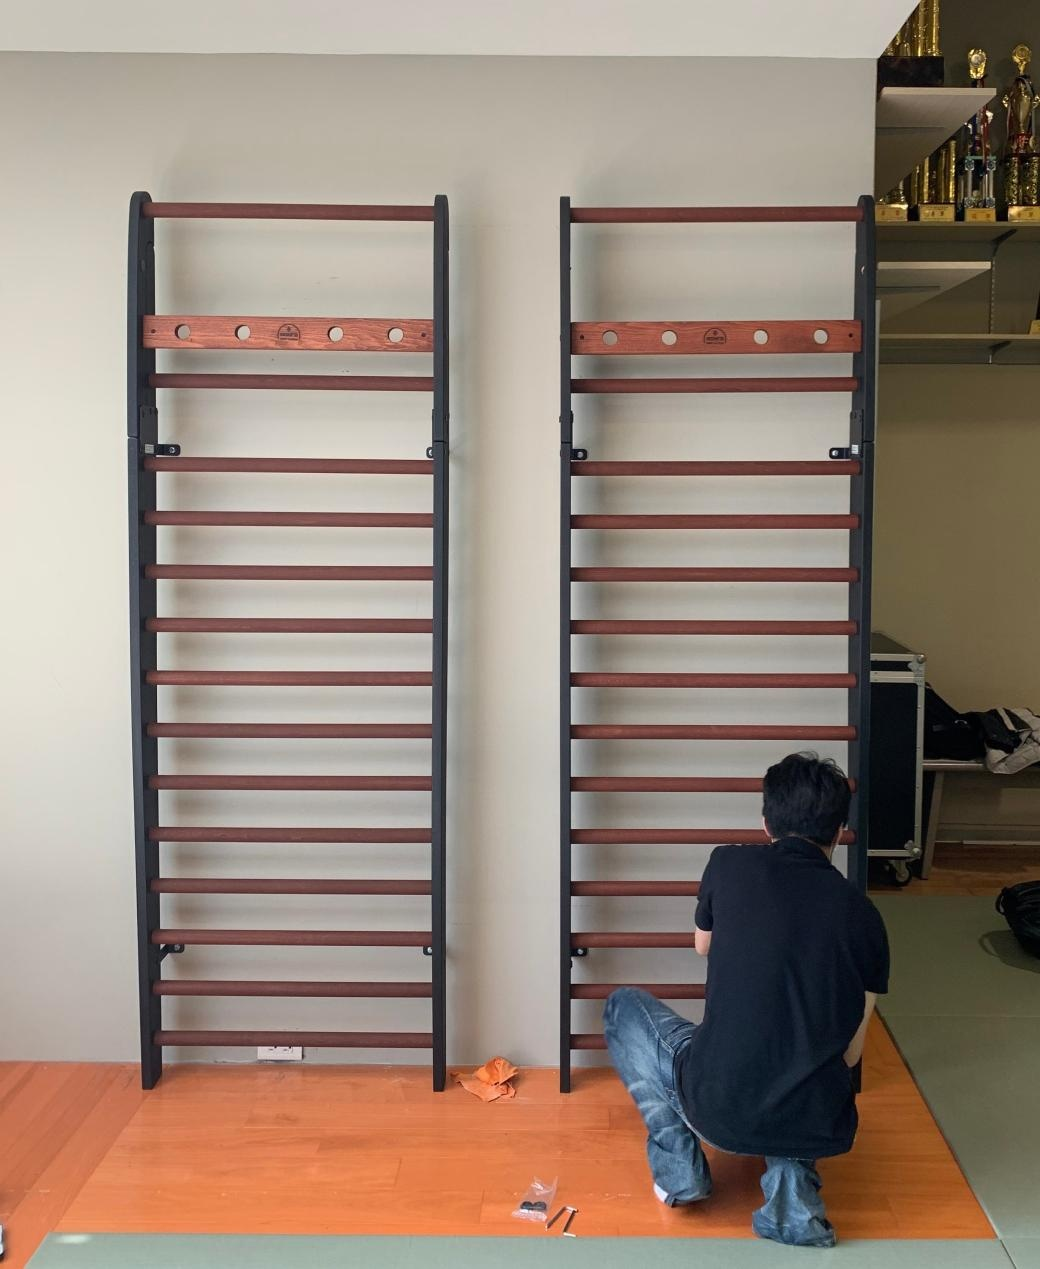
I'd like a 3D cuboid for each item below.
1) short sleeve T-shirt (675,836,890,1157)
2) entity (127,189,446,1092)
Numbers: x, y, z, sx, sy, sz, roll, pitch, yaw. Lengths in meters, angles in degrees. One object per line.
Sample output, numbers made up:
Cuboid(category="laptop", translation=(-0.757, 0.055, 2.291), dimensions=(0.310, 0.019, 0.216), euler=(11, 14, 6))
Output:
Cuboid(category="short sleeve T-shirt", translation=(0.491, 0.716, 2.469), dimensions=(0.393, 0.635, 0.265), euler=(2, 14, 14))
Cuboid(category="entity", translation=(-0.533, 0.033, 3.055), dimensions=(0.745, 2.062, 0.530), euler=(0, 14, 3))
